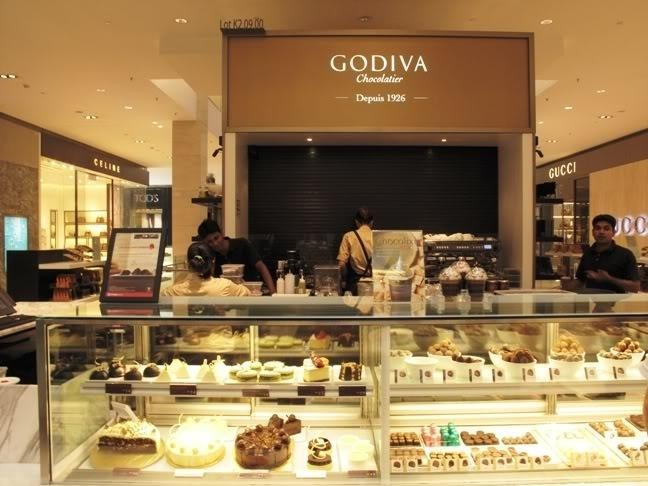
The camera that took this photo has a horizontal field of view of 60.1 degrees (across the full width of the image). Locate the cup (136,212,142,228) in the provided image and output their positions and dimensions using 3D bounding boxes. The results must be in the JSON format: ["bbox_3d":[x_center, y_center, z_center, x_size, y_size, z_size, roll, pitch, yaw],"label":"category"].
[{"bbox_3d":[-2.853,-0.361,8.550,0.122,0.207,0.111,0,-1,0],"label":"cup"}]

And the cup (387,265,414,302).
[{"bbox_3d":[0.529,0.300,3.898,0.209,0.201,0.193,0,0,0],"label":"cup"}]

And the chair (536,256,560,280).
[{"bbox_3d":[2.913,0.333,7.270,0.228,0.350,0.430,-7,-10,44],"label":"chair"}]

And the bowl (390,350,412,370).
[{"bbox_3d":[0.527,0.803,3.833,0.136,0.061,0.126,-2,0,0],"label":"bowl"}]

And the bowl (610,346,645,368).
[{"bbox_3d":[2.068,0.776,3.791,0.259,0.101,0.240,-2,-1,0],"label":"bowl"}]

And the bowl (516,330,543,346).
[{"bbox_3d":[1.435,0.665,3.879,0.131,0.077,0.125,0,1,0],"label":"bowl"}]

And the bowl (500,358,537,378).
[{"bbox_3d":[1.331,0.840,3.792,0.153,0.059,0.142,0,-4,0],"label":"bowl"}]

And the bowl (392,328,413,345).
[{"bbox_3d":[0.529,0.633,3.793,0.133,0.056,0.130,0,6,0],"label":"bowl"}]

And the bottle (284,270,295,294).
[{"bbox_3d":[-0.372,0.427,5.854,0.112,0.200,0.163,0,-1,0],"label":"bottle"}]

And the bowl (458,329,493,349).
[{"bbox_3d":[1.043,0.647,3.841,0.183,0.111,0.173,0,-1,0],"label":"bowl"}]

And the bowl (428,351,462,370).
[{"bbox_3d":[0.825,0.816,3.818,0.149,0.051,0.143,2,1,0],"label":"bowl"}]

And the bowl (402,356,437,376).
[{"bbox_3d":[0.652,0.817,3.787,0.145,0.060,0.147,0,3,0],"label":"bowl"}]

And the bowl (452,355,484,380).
[{"bbox_3d":[0.973,0.855,3.778,0.169,0.105,0.166,-1,-1,0],"label":"bowl"}]

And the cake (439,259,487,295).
[{"bbox_3d":[1.062,0.262,4.368,0.292,0.222,0.343,-2,4,-12],"label":"cake"}]

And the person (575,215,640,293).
[{"bbox_3d":[2.878,0.106,5.781,0.503,0.780,0.625,1,-2,-44],"label":"person"}]

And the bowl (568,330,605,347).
[{"bbox_3d":[1.827,0.666,3.855,0.123,0.133,0.216,-3,5,-42],"label":"bowl"}]

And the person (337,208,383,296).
[{"bbox_3d":[0.331,0.099,6.048,0.380,0.946,0.428,-1,-1,10],"label":"person"}]

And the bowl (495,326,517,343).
[{"bbox_3d":[1.259,0.636,3.861,0.137,0.073,0.131,-1,-1,0],"label":"bowl"}]

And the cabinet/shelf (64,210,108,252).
[{"bbox_3d":[-6.035,-0.280,13.893,0.366,1.105,1.067,-2,-5,27],"label":"cabinet/shelf"}]

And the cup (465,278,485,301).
[{"bbox_3d":[1.153,0.364,4.231,0.166,0.137,0.147,0,1,4],"label":"cup"}]

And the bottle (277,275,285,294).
[{"bbox_3d":[-0.461,0.432,5.811,0.086,0.180,0.256,0,-1,-6],"label":"bottle"}]

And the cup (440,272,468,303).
[{"bbox_3d":[0.962,0.324,4.272,0.220,0.200,0.202,0,-7,0],"label":"cup"}]
